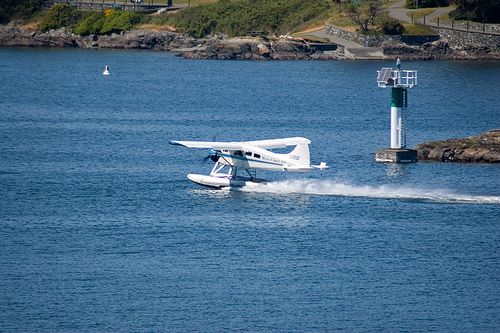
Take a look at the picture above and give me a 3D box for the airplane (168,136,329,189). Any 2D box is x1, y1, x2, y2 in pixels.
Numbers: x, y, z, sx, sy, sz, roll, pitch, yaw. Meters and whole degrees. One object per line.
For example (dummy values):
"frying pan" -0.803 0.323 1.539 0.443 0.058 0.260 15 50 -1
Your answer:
"airplane" 1.368 -1.069 193.246 13.302 4.549 13.208 6 8 23
